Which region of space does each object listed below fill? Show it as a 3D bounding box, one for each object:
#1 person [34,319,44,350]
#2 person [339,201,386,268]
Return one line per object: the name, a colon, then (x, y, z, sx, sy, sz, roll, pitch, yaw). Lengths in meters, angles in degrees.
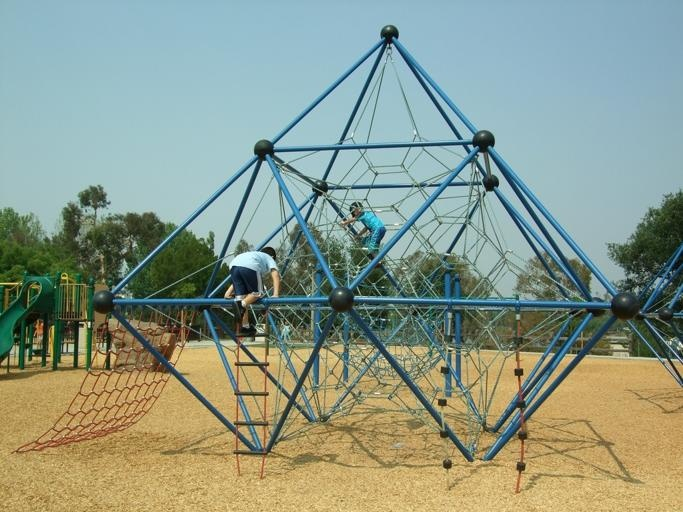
person: (-11.466, 2.988, 33.320, 0.384, 0.410, 1.490, 1, -31, -14)
person: (0.476, -0.381, 19.184, 0.838, 1.345, 1.648, 6, -7, 0)
